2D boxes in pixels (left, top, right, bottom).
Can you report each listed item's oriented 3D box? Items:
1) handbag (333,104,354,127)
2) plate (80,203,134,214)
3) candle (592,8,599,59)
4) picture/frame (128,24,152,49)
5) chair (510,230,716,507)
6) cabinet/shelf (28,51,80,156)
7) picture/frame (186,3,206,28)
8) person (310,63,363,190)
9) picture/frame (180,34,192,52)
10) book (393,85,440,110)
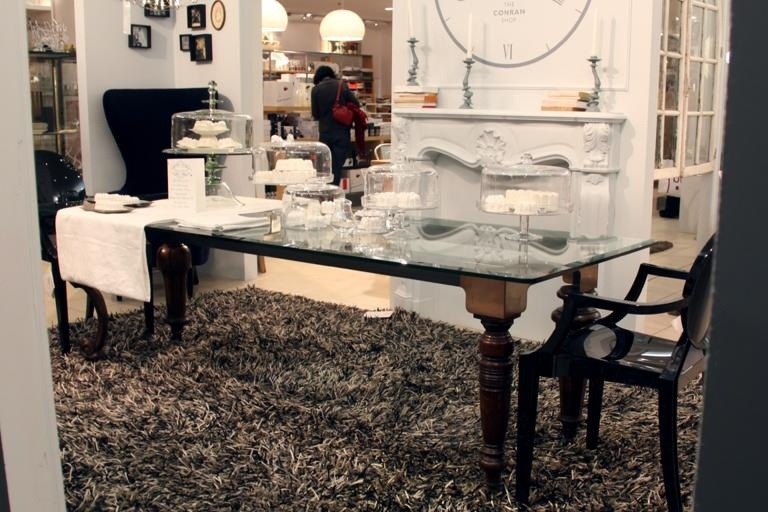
[{"bbox_3d":[-0.502,-1.621,7.141,0.257,0.240,0.110,6,14,-28],"label":"handbag"},{"bbox_3d":[-1.527,-0.247,3.351,0.133,0.041,0.125,1,5,14],"label":"plate"},{"bbox_3d":[1.197,-1.251,3.468,0.043,0.277,0.155,4,14,16],"label":"candle"},{"bbox_3d":[-2.135,-1.897,5.346,0.077,0.208,0.228,8,15,32],"label":"picture/frame"},{"bbox_3d":[0.849,0.371,2.261,0.576,0.966,0.765,8,15,29],"label":"chair"},{"bbox_3d":[-3.292,-1.477,6.097,0.429,1.042,0.447,-7,15,-29],"label":"cabinet/shelf"},{"bbox_3d":[-1.642,-2.081,5.332,0.239,0.225,0.071,4,4,40],"label":"picture/frame"},{"bbox_3d":[-0.579,-1.502,7.256,0.565,1.418,0.919,-1,13,-6],"label":"person"},{"bbox_3d":[-1.781,-1.891,5.467,0.168,0.149,0.023,10,11,38],"label":"picture/frame"},{"bbox_3d":[0.192,-1.084,4.211,0.318,0.139,0.127,8,15,31],"label":"book"}]
